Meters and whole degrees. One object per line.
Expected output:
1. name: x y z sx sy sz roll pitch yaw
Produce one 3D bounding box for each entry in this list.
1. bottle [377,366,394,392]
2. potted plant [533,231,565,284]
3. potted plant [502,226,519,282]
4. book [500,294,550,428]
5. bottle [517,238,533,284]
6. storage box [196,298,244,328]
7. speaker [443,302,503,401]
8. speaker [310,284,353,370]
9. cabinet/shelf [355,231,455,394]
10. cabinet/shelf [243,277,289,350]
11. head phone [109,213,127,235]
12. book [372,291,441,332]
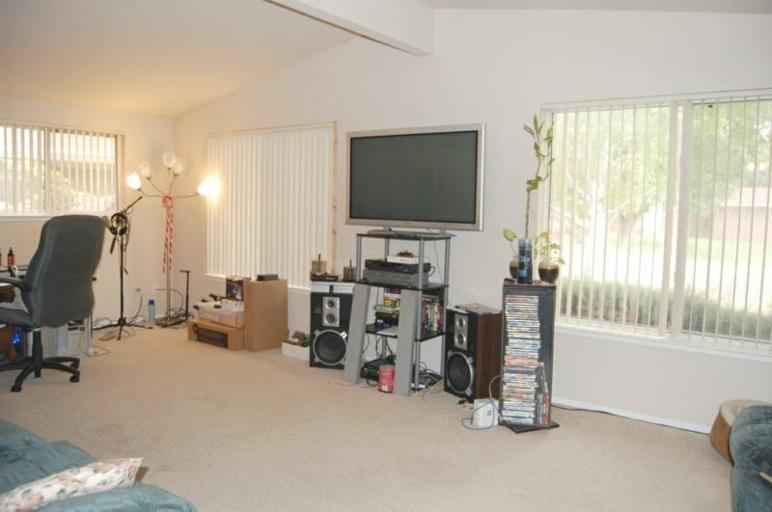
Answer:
1. bottle: -0.012 1.186 5.401 0.207 0.220 0.210 2 2 -4
2. potted plant: 1.492 0.033 5.070 0.272 0.476 0.526 5 15 16
3. potted plant: 1.153 -0.037 5.131 0.153 0.439 0.592 4 14 11
4. book: 1.203 0.865 4.702 0.435 1.170 0.245 4 15 12
5. bottle: 1.210 0.033 4.773 0.112 0.356 0.166 3 14 8
6. storage box: -1.985 0.666 6.535 0.412 0.141 0.417 5 3 34
7. speaker: 0.798 0.900 5.169 0.574 0.864 0.336 6 15 20
8. speaker: -0.599 0.733 5.891 0.444 0.914 0.228 1 14 2
9. cabinet/shelf: 0.133 0.496 5.609 1.037 1.499 1.016 3 14 7
10. cabinet/shelf: -1.427 0.671 6.490 0.540 0.817 0.297 -4 15 -20
11. head phone: -3.434 -0.417 7.091 0.266 0.268 0.103 7 6 25
12. book: 0.175 0.557 5.648 0.484 0.445 0.112 1 4 23
